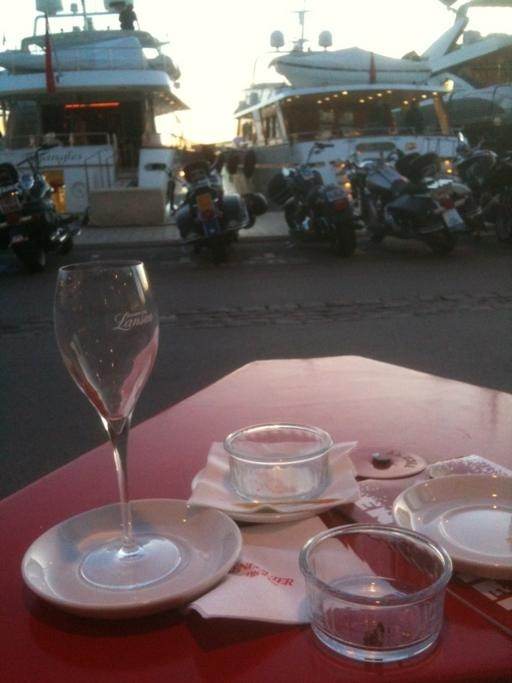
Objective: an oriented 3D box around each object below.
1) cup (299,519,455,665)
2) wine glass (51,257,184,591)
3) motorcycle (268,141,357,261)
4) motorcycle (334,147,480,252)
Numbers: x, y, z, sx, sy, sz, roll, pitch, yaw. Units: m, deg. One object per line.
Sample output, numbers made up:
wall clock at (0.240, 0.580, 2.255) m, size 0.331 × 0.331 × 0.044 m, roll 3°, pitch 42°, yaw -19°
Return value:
cup at (0.096, 0.202, 0.459) m, size 0.120 × 0.061 × 0.105 m, roll -1°, pitch 8°, yaw 9°
wine glass at (-0.140, 0.066, 0.562) m, size 0.099 × 0.293 × 0.198 m, roll -5°, pitch 9°, yaw -15°
motorcycle at (1.204, -2.138, 8.972) m, size 1.233 × 1.360 × 2.350 m, roll -6°, pitch 22°, yaw -11°
motorcycle at (2.184, -2.109, 8.209) m, size 1.099 × 1.132 × 2.022 m, roll -14°, pitch 28°, yaw -14°
